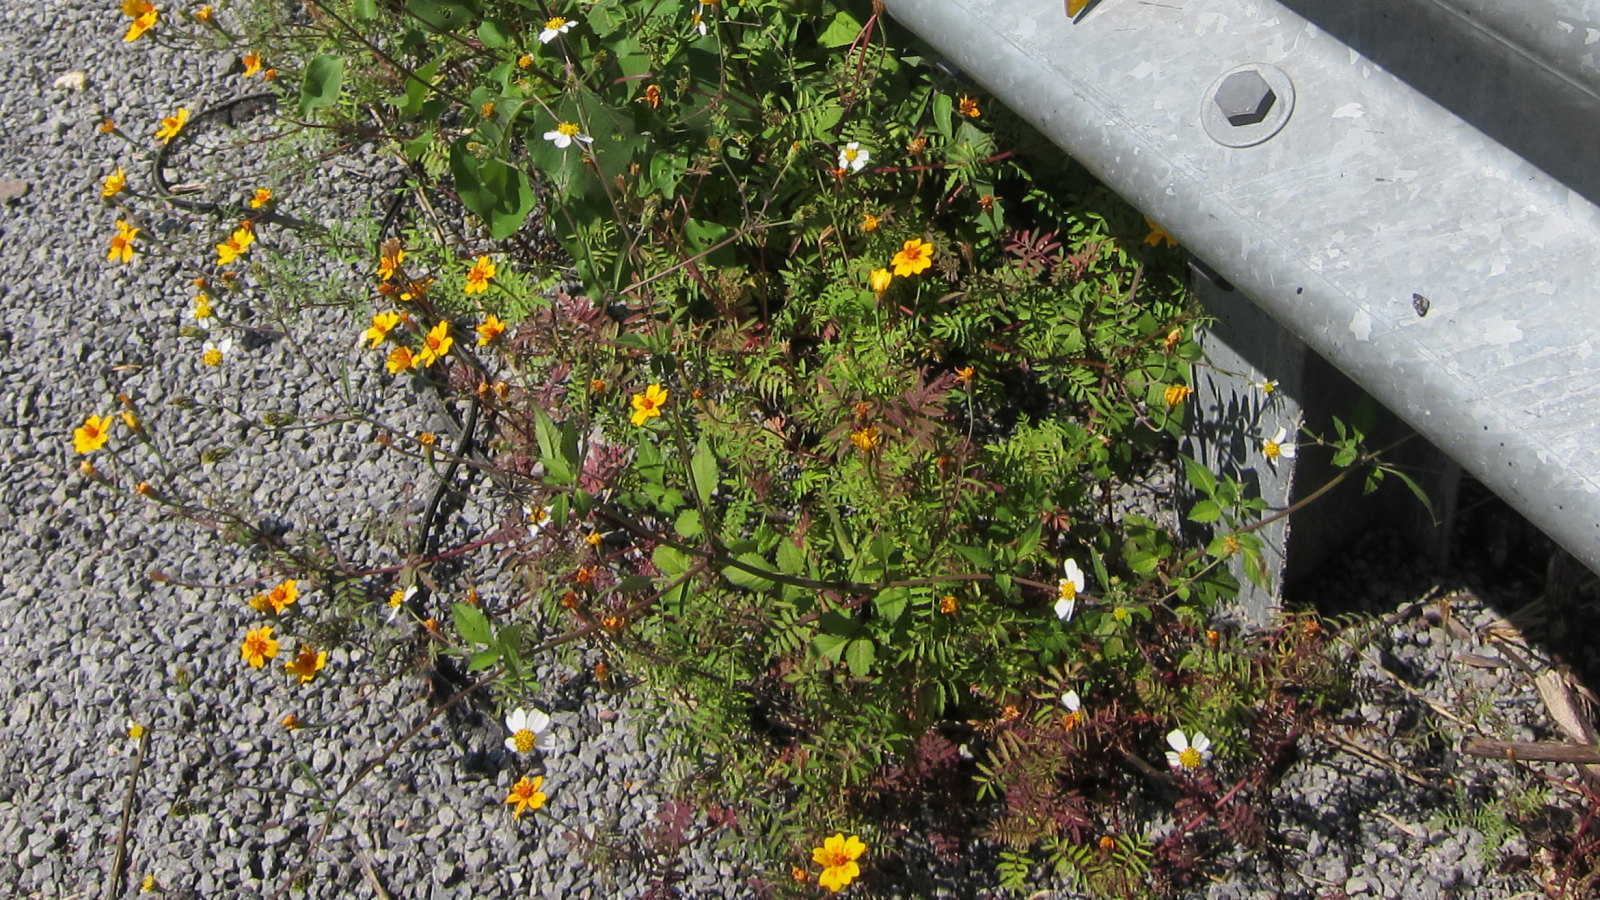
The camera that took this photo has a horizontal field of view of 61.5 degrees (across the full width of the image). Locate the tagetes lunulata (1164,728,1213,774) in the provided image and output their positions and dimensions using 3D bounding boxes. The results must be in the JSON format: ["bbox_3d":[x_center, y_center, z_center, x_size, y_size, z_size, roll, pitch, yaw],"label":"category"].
[{"bbox_3d":[1.120,0.879,3.915,0.123,0.048,0.144,-3,65,16],"label":"tagetes lunulata"}]
